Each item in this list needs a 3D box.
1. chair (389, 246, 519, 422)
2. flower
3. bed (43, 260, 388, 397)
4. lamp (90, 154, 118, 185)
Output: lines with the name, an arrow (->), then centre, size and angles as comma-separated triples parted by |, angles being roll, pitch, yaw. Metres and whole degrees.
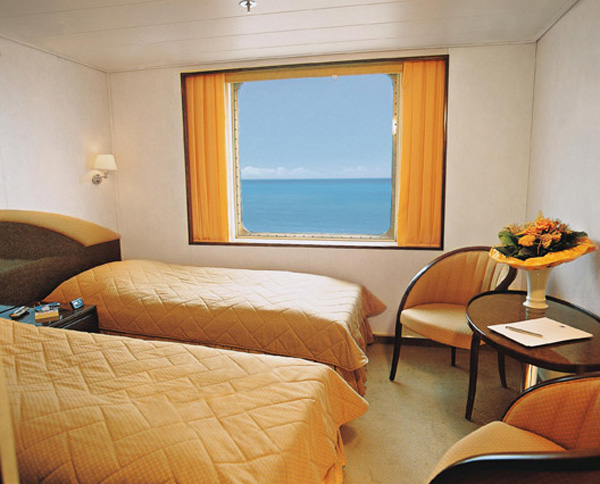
chair -> 1.169, 0.545, 3.493 | 0.835, 0.923, 0.796 | -6, 10, -18
flower -> 1.537, -0.050, 2.922 | 0.565, 0.189, 0.496 | 4, -9, -19
bed -> -0.594, 0.489, 3.587 | 1.953, 0.478, 1.107 | 2, 9, 16
lamp -> -1.850, -0.680, 4.517 | 0.228, 0.230, 0.194 | -4, 1, 22
